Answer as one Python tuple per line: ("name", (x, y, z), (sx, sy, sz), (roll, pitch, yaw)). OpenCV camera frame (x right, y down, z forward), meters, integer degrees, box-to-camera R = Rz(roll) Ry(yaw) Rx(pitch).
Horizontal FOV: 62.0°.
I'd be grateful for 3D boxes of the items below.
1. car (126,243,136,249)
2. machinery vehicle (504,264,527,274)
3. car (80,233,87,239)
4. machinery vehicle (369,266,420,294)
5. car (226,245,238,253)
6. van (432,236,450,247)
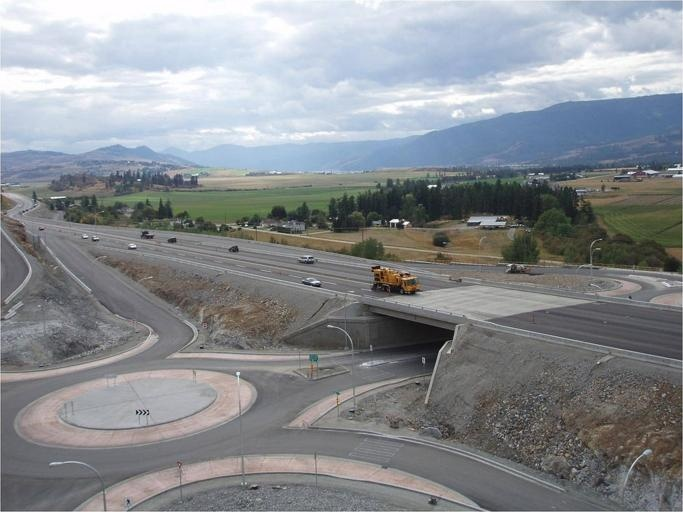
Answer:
("car", (-44.688, -2.030, 121.654), (1.394, 0.657, 2.550), (-2, 5, -30))
("machinery vehicle", (30.547, 2.224, 99.052), (3.501, 1.378, 2.199), (0, 13, 3))
("car", (-62.006, -4.677, 137.642), (1.727, 0.720, 2.754), (-4, 11, -31))
("machinery vehicle", (7.698, 3.285, 76.905), (2.831, 2.616, 6.731), (-7, 9, -43))
("car", (-22.137, -1.365, 115.692), (1.823, 0.855, 2.294), (-1, 8, -13))
("van", (30.027, -4.556, 171.816), (4.278, 2.915, 3.887), (-5, 8, -12))
